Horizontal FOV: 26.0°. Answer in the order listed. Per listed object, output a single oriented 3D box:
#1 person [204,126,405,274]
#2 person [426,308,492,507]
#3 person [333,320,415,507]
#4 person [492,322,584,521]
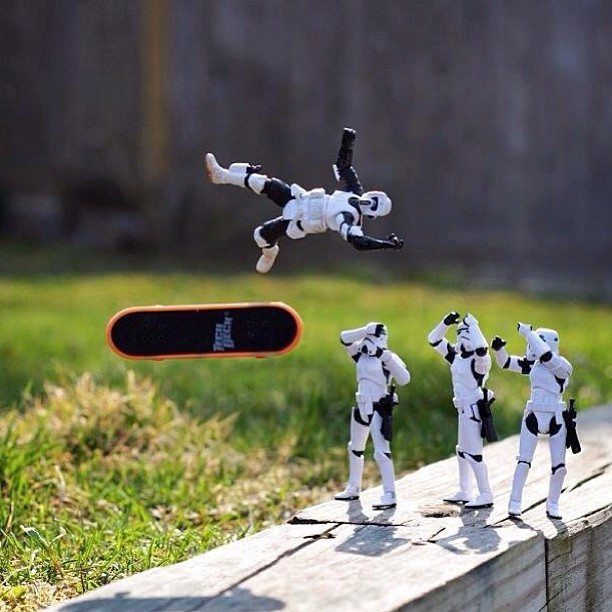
[{"bbox_3d":[0.019,-0.403,5.930,0.947,0.743,0.425,10,47,27],"label":"person"},{"bbox_3d":[0.701,0.440,6.038,0.269,0.843,0.536,-2,4,6],"label":"person"},{"bbox_3d":[0.302,0.474,5.939,0.313,0.798,0.262,1,5,42],"label":"person"},{"bbox_3d":[1.000,0.493,5.772,0.351,0.830,0.239,-2,4,1],"label":"person"}]
